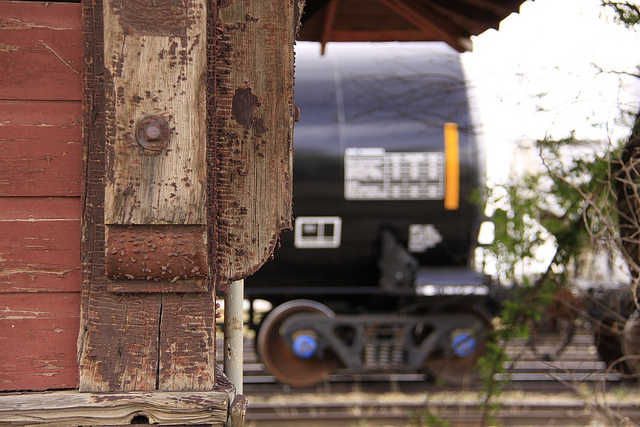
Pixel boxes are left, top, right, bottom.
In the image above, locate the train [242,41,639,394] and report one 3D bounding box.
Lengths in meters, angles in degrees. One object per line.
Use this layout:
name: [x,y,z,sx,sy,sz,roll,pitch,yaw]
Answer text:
train: [0.920,0.020,10.874,2.973,3.190,1.031,2,-9,12]
